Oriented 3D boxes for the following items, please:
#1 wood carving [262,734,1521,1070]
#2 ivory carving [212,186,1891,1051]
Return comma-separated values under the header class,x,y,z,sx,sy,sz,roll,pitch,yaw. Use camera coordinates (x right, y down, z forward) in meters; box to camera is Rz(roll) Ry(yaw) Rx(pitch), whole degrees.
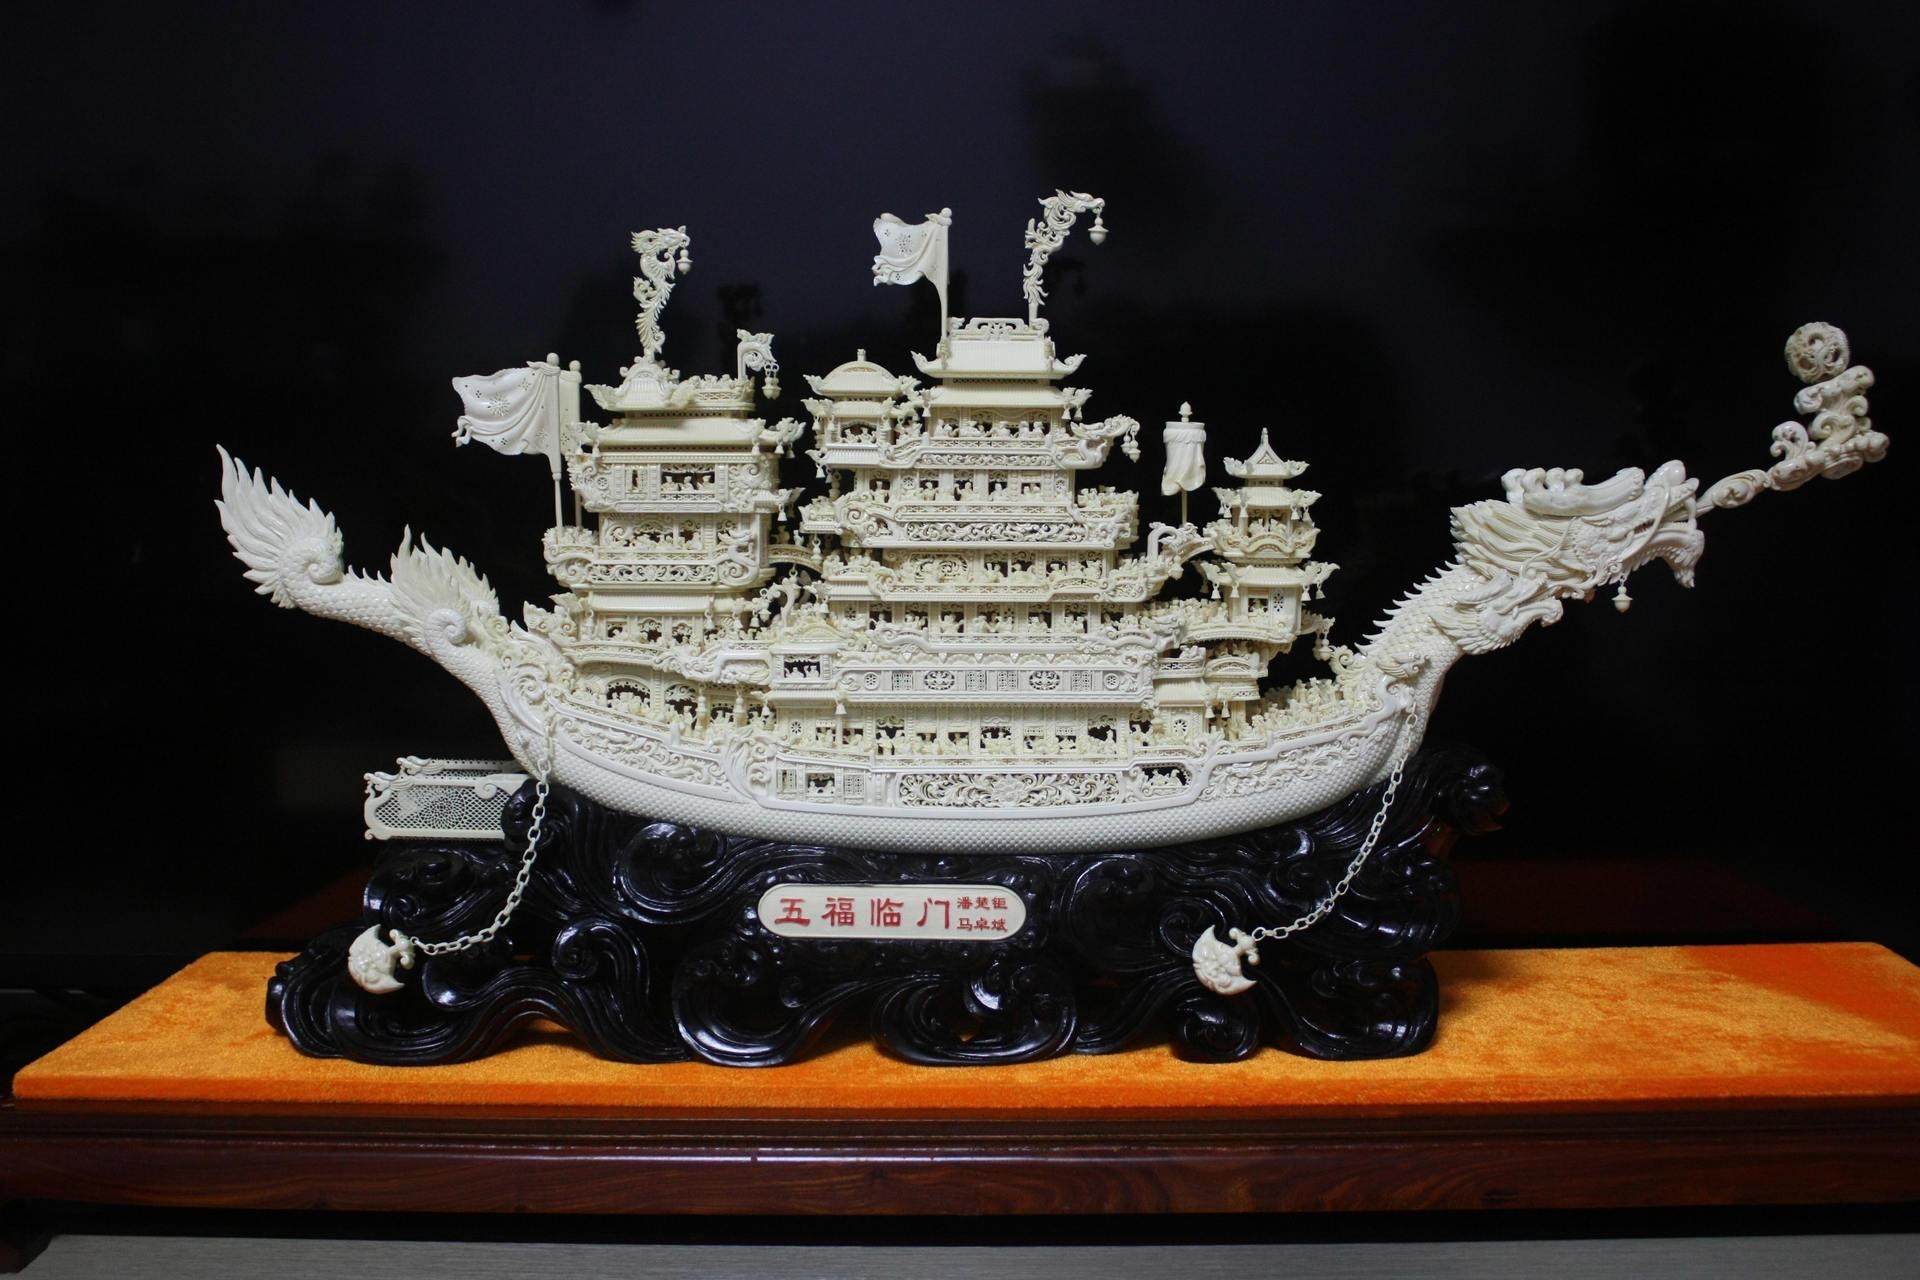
class,x,y,z,sx,sy,sz,roll,pitch,yaw
wood carving,-0.215,1.193,12.335,6.029,1.141,0.797,-3,-4,30
ivory carving,0.349,-0.213,12.308,5.002,1.907,1.193,0,9,2
